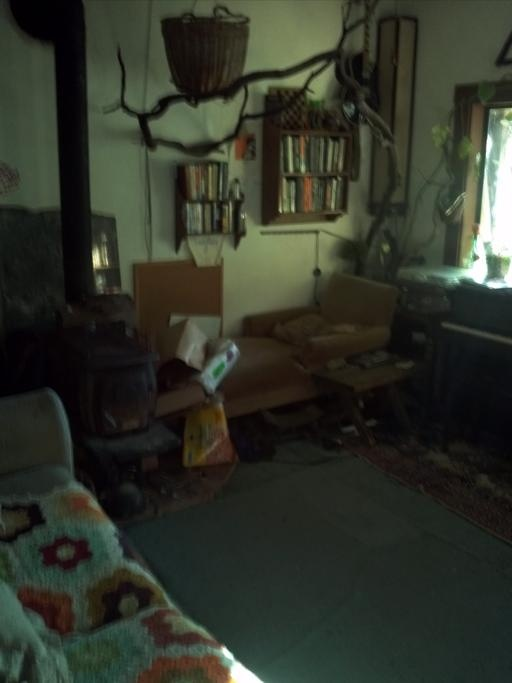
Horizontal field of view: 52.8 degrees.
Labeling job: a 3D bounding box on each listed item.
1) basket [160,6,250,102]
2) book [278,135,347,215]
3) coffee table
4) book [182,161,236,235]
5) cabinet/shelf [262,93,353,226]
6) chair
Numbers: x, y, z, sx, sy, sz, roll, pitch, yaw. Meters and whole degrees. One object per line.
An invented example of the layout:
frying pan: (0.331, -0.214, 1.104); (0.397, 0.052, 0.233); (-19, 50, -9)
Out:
basket: (-0.251, -1.496, 2.719); (0.454, 0.523, 0.404); (-1, 26, -4)
book: (0.486, -1.514, 4.591); (0.651, 0.809, 0.294); (-1, 4, -16)
coffee table: (0.895, 0.451, 3.958); (0.669, 0.567, 0.401); (-13, 18, -27)
book: (-0.382, -1.114, 4.073); (0.489, 0.562, 0.121); (-6, 12, -39)
cabinet/shelf: (0.439, -1.667, 4.565); (0.917, 1.464, 0.352); (-9, 17, -33)
chair: (0.405, 0.181, 4.415); (1.371, 0.875, 1.007); (-15, 26, -19)
